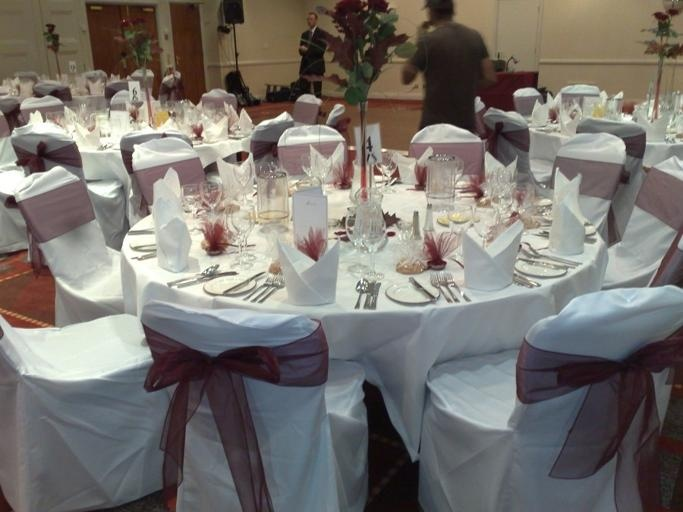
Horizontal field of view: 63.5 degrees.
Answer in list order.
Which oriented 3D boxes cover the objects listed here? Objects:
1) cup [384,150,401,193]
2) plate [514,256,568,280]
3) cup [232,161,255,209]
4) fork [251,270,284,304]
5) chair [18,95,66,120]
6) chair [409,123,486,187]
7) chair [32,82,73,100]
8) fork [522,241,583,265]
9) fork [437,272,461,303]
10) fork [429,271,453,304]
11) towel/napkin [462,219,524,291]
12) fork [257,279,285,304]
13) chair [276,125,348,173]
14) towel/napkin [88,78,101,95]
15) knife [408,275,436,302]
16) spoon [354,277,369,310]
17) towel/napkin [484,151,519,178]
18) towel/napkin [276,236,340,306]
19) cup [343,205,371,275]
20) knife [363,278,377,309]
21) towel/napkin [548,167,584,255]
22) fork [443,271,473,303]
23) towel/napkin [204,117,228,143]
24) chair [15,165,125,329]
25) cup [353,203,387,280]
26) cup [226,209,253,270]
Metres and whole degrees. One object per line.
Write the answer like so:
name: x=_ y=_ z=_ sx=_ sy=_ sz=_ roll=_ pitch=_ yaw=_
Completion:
cup: x=0.309 y=-0.549 z=3.562 sx=0.095 sy=0.273 sz=0.108 roll=-8 pitch=36 yaw=-9
plate: x=0.870 y=0.053 z=2.423 sx=0.155 sy=0.033 sz=0.108 roll=15 pitch=32 yaw=31
cup: x=-0.569 y=-0.431 z=3.201 sx=0.129 sy=0.287 sz=0.146 roll=15 pitch=36 yaw=13
fork: x=-0.306 y=0.134 z=2.308 sx=0.053 sy=0.036 sz=0.238 roll=24 pitch=29 yaw=8
chair: x=-3.188 y=-1.572 z=5.942 sx=0.559 sy=0.214 sz=0.384 roll=18 pitch=30 yaw=39
chair: x=0.750 y=-0.784 z=3.921 sx=0.443 sy=0.370 sz=0.480 roll=-5 pitch=21 yaw=-22
chair: x=-3.852 y=-2.206 z=7.341 sx=0.335 sy=0.206 sz=0.387 roll=7 pitch=33 yaw=-1
fork: x=0.975 y=-0.011 z=2.540 sx=0.168 sy=0.033 sz=0.030 roll=26 pitch=67 yaw=26
fork: x=0.443 y=0.128 z=2.300 sx=0.044 sy=0.029 sz=0.196 roll=-12 pitch=38 yaw=7
fork: x=0.414 y=0.125 z=2.302 sx=0.039 sy=0.022 sz=0.171 roll=3 pitch=38 yaw=-7
towel/napkin: x=0.636 y=0.015 z=2.327 sx=0.244 sy=0.265 sz=0.152 roll=-1 pitch=-9 yaw=22
fork: x=-0.297 y=0.138 z=2.265 sx=0.040 sy=0.026 sz=0.173 roll=6 pitch=39 yaw=15
chair: x=-0.249 y=-0.794 z=3.969 sx=0.396 sy=0.308 sz=0.442 roll=-7 pitch=25 yaw=-13
towel/napkin: x=-3.748 y=-2.571 z=8.409 sx=0.220 sy=0.167 sz=0.483 roll=-12 pitch=25 yaw=-22
knife: x=0.338 y=0.141 z=2.314 sx=0.033 sy=0.034 sz=0.250 roll=-20 pitch=33 yaw=-6
spoon: x=0.075 y=0.153 z=2.274 sx=0.030 sy=0.023 sz=0.162 roll=2 pitch=36 yaw=8
towel/napkin: x=0.913 y=-0.470 z=3.158 sx=0.177 sy=0.214 sz=0.192 roll=4 pitch=24 yaw=17
towel/napkin: x=-0.132 y=0.034 z=2.259 sx=0.225 sy=0.269 sz=0.224 roll=-6 pitch=10 yaw=-24
cup: x=0.073 y=-0.061 z=2.456 sx=0.126 sy=0.365 sz=0.153 roll=12 pitch=29 yaw=26
knife: x=0.115 y=0.157 z=2.258 sx=0.033 sy=0.007 sz=0.142 roll=3 pitch=27 yaw=7
towel/napkin: x=1.069 y=-0.193 z=2.589 sx=0.146 sy=0.379 sz=0.149 roll=4 pitch=25 yaw=39
fork: x=0.464 y=0.129 z=2.297 sx=0.042 sy=0.023 sz=0.180 roll=-16 pitch=33 yaw=2
towel/napkin: x=-1.192 y=-1.189 z=5.242 sx=0.212 sy=0.226 sz=0.172 roll=-23 pitch=34 yaw=-31
chair: x=-1.467 y=-0.029 z=3.032 sx=0.443 sy=0.833 sz=0.464 roll=-12 pitch=23 yaw=-25
cup: x=0.128 y=-0.076 z=2.372 sx=0.113 sy=0.349 sz=0.137 roll=-5 pitch=17 yaw=-4
cup: x=-0.477 y=-0.068 z=2.560 sx=0.109 sy=0.330 sz=0.138 roll=6 pitch=26 yaw=11
